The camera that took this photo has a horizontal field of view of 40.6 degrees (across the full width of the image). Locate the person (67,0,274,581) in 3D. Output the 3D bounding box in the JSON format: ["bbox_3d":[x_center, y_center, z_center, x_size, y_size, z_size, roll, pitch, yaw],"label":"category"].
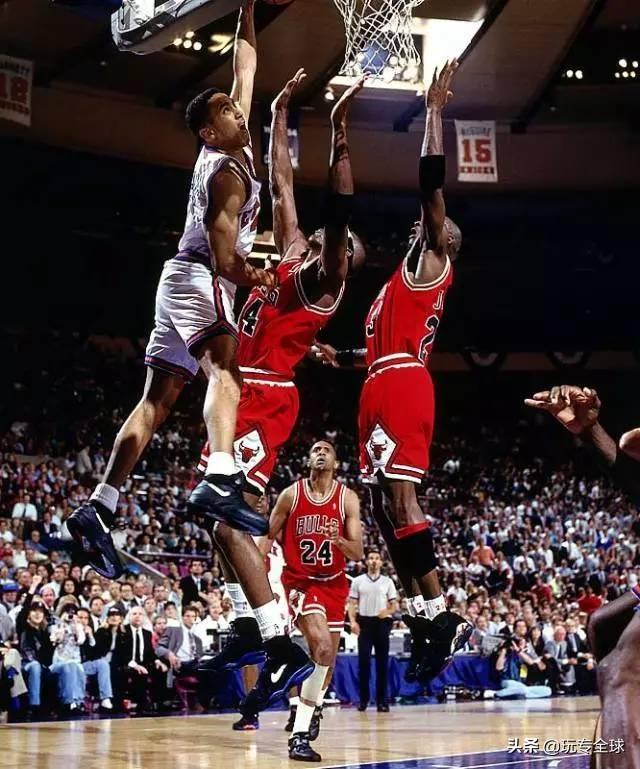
[{"bbox_3d":[-0.651,-0.646,4.048,0.813,3.100,0.939,4,-8,-12],"label":"person"}]

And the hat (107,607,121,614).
[{"bbox_3d":[-2.269,2.482,9.485,0.155,0.077,0.194,2,-17,-6],"label":"hat"}]

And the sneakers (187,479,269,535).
[{"bbox_3d":[-0.387,0.485,3.565,0.338,0.158,0.214,20,22,-8],"label":"sneakers"}]

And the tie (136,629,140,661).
[{"bbox_3d":[-1.977,2.831,9.444,0.067,0.306,0.083,4,-8,-12],"label":"tie"}]
